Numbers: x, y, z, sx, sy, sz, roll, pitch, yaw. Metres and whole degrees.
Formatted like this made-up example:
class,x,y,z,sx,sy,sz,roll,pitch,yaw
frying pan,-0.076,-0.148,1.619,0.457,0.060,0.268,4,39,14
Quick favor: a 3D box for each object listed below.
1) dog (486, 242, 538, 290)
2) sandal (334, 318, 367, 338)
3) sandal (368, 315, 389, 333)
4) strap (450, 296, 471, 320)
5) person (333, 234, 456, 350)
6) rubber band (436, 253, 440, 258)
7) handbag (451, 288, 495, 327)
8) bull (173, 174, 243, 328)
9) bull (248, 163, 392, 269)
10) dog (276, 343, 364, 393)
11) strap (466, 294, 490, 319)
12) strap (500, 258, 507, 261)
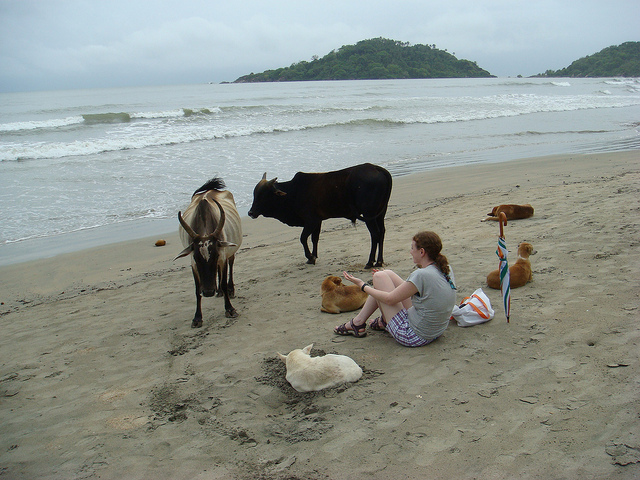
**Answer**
class,x,y,z,sx,sy,sz,roll,pitch,yaw
dog,3.054,0.429,8.508,1.083,0.649,0.377,-17,9,-29
sandal,0.424,1.261,7.701,0.427,0.185,0.205,4,3,31
sandal,0.821,1.195,7.716,0.112,0.248,0.436,-19,19,-38
strap,2.085,1.013,7.873,0.096,0.353,0.281,27,-10,6
person,1.026,0.669,7.514,1.735,1.454,0.947,4,7,44
rubber band,1.497,0.198,6.901,0.086,0.043,0.024,-19,18,-28
handbag,2.115,0.952,7.534,0.508,0.233,0.568,-15,4,-42
bull,-2.034,0.093,10.170,1.179,2.167,3.835,-4,14,-8
bull,-0.019,-0.449,11.292,3.198,1.991,0.967,0,4,26
dog,-0.074,1.679,7.053,1.262,0.490,0.905,-2,1,36
strap,2.201,0.957,7.617,0.263,0.279,0.289,-40,8,9
strap,2.469,0.270,7.296,0.065,0.031,0.024,-1,16,18
